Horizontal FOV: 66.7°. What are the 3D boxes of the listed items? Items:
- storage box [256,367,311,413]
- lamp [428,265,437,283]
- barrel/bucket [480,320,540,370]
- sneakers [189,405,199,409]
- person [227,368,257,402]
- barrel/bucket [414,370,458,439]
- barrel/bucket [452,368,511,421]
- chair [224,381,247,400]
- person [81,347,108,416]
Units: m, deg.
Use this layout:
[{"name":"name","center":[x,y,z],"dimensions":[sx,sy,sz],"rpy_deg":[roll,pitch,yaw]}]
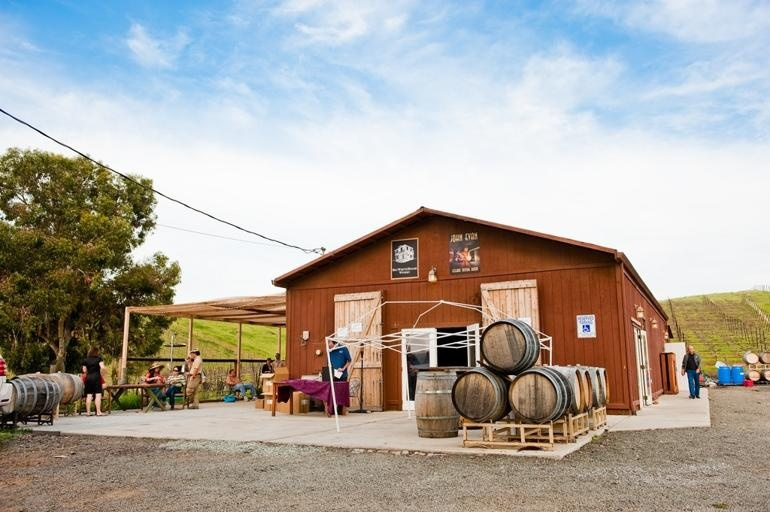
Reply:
[{"name":"storage box","center":[-3.035,4.139,17.072],"dimensions":[1.373,0.876,1.764],"rpy_deg":[-3,-9,15]},{"name":"lamp","center":[1.436,0.537,17.588],"dimensions":[0.253,0.483,0.291],"rpy_deg":[-1,-17,6]},{"name":"barrel/bucket","center":[2.476,1.899,11.216],"dimensions":[1.318,0.943,1.342],"rpy_deg":[8,-29,4]},{"name":"sneakers","center":[-6.048,4.778,18.542],"dimensions":[0.317,0.127,0.108],"rpy_deg":[-3,-12,34]},{"name":"person","center":[-5.517,4.890,22.466],"dimensions":[1.071,1.331,0.802],"rpy_deg":[-17,-13,31]},{"name":"barrel/bucket","center":[1.045,2.990,11.853],"dimensions":[0.930,1.247,0.960],"rpy_deg":[1,-11,0]},{"name":"barrel/bucket","center":[1.763,2.643,11.289],"dimensions":[0.934,1.009,1.333],"rpy_deg":[9,-3,24]},{"name":"chair","center":[-5.720,5.106,22.342],"dimensions":[0.663,0.723,0.682],"rpy_deg":[-4,-12,19]},{"name":"person","center":[-7.982,3.417,15.992],"dimensions":[0.583,1.766,0.924],"rpy_deg":[3,-17,-7]}]
